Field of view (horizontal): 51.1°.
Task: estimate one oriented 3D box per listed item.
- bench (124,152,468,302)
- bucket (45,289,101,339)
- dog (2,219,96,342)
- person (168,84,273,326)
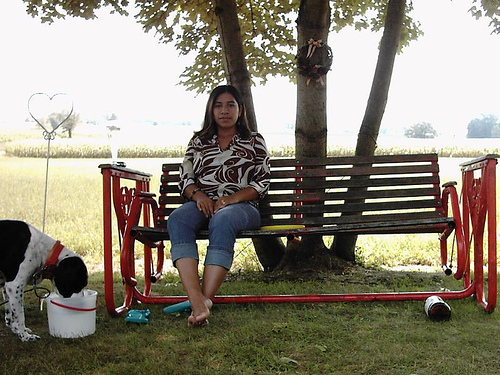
[{"bbox_3d":[0.381,0.365,4.499,2.880,1.271,1.080,-1,5,13],"label":"bench"},{"bbox_3d":[-1.339,0.975,3.972,0.389,0.294,0.402,0,-9,0],"label":"bucket"},{"bbox_3d":[-1.563,0.668,3.989,0.549,0.842,0.373,-7,11,-36],"label":"dog"},{"bbox_3d":[-0.302,0.049,4.178,0.745,1.731,1.115,2,9,17],"label":"person"}]
